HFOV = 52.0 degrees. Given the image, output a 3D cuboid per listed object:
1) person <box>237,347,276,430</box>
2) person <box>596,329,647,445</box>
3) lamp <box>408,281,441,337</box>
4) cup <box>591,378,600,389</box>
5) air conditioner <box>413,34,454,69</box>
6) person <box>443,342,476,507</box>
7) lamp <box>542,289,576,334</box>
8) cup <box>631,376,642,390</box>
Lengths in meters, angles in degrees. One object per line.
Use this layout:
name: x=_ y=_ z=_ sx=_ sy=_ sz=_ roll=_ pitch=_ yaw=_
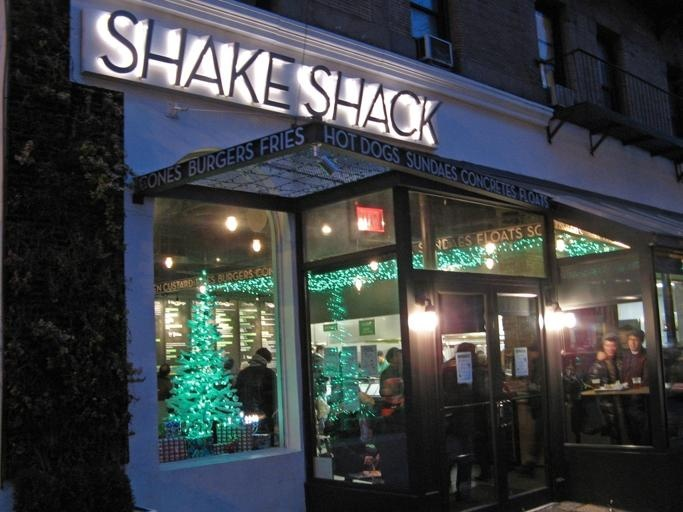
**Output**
person: x=-1.116 y=1.828 z=9.275 sx=0.511 sy=0.993 sz=0.252 roll=2 pitch=-11 yaw=-28
person: x=3.889 y=1.896 z=9.640 sx=0.856 sy=2.046 sz=0.668 roll=-1 pitch=15 yaw=16
lamp: x=1.064 y=0.640 z=8.480 sx=0.277 sy=0.595 sz=0.532 roll=-11 pitch=-12 yaw=40
cup: x=3.572 y=1.787 z=9.832 sx=0.121 sy=0.155 sz=0.158 roll=5 pitch=-9 yaw=-22
air conditioner: x=1.499 y=-3.239 z=11.357 sx=0.638 sy=0.500 sz=0.350 roll=2 pitch=-9 yaw=-38
person: x=1.477 y=2.116 z=8.712 sx=0.150 sy=1.743 sz=0.541 roll=-12 pitch=-13 yaw=44
lamp: x=3.163 y=0.765 z=10.096 sx=0.362 sy=0.627 sz=0.413 roll=-11 pitch=-12 yaw=42
cup: x=3.963 y=1.711 z=9.426 sx=0.150 sy=0.152 sz=0.153 roll=1 pitch=-5 yaw=0
